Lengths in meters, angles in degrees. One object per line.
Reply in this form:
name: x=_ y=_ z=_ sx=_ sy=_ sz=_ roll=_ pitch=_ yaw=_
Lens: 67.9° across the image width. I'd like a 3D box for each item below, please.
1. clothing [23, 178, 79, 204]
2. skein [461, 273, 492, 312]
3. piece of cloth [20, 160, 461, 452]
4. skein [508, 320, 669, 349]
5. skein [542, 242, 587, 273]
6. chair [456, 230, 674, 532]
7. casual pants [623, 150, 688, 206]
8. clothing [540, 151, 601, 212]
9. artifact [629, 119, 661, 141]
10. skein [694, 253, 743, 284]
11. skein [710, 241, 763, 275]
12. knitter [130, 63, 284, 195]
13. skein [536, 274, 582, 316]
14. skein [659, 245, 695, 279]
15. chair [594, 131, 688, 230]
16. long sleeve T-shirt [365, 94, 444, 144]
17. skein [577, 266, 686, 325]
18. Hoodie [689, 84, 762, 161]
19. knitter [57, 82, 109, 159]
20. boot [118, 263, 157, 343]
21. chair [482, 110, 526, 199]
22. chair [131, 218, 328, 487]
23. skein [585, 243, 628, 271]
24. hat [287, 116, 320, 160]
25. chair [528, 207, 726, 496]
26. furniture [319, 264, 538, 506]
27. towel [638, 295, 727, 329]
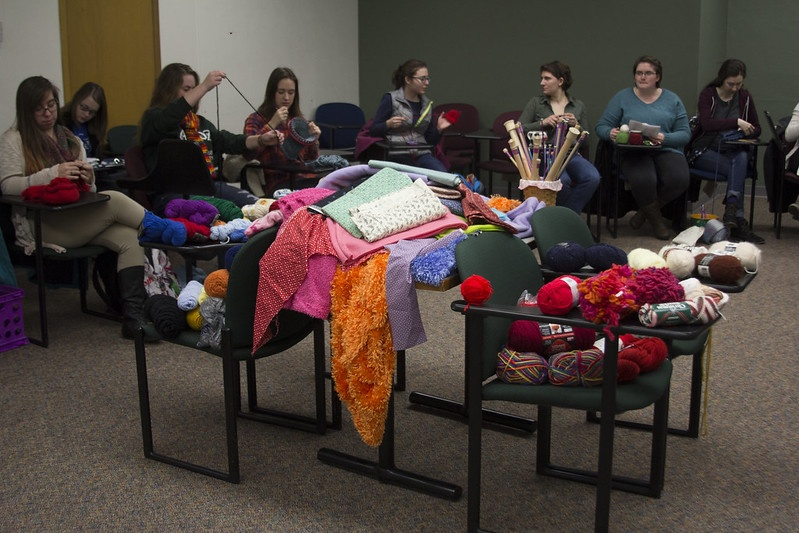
clothing: x=-1.839 y=-0.383 z=3.155 sx=0.178 sy=0.078 sz=0.183 roll=7 pitch=13 yaw=13
skein: x=0.246 y=0.078 z=1.932 sx=0.095 sy=0.098 sz=0.086 roll=11 pitch=9 yaw=37
piece of cloth: x=-0.425 y=0.029 z=2.300 sx=1.027 sy=1.149 sz=0.868 roll=13 pitch=21 yaw=31
skein: x=0.575 y=0.238 z=2.034 sx=0.336 sy=0.104 sz=0.113 roll=2 pitch=10 yaw=-12
skein: x=0.585 y=-0.041 z=2.089 sx=0.107 sy=0.076 sz=0.109 roll=-2 pitch=7 yaw=2
chair: x=0.599 y=0.354 z=2.462 sx=0.925 sy=1.346 sz=1.037 roll=3 pitch=7 yaw=29
casual pants: x=2.376 y=-0.733 z=5.454 sx=0.579 sy=0.228 sz=0.717 roll=-1 pitch=-9 yaw=28
clothing: x=1.558 y=-0.693 z=5.126 sx=0.309 sy=0.493 sz=0.304 roll=-12 pitch=20 yaw=-35
artifact: x=2.091 y=-1.143 z=5.050 sx=0.253 sy=0.159 sz=0.129 roll=6 pitch=17 yaw=18
skein: x=1.016 y=0.004 z=1.878 sx=0.074 sy=0.071 sz=0.152 roll=-2 pitch=9 yaw=-16
skein: x=1.104 y=-0.022 z=1.972 sx=0.094 sy=0.083 sz=0.163 roll=-19 pitch=19 yaw=-35
knitter: x=-1.304 y=-0.849 z=4.030 sx=0.774 sy=0.928 sz=0.607 roll=-17 pitch=22 yaw=-42
skein: x=0.482 y=0.082 z=1.801 sx=0.083 sy=0.081 sz=0.143 roll=10 pitch=19 yaw=32
skein: x=0.908 y=-0.037 z=1.938 sx=0.077 sy=0.064 sz=0.124 roll=-16 pitch=39 yaw=5
chair: x=2.152 y=-0.915 z=5.432 sx=0.584 sy=0.910 sz=0.672 roll=-1 pitch=-11 yaw=6
long sleeve T-shirt: x=0.056 y=-1.282 z=5.199 sx=0.632 sy=0.530 sz=0.337 roll=5 pitch=3 yaw=-32
skein: x=0.683 y=0.060 z=1.741 sx=0.214 sy=0.123 sz=0.189 roll=-1 pitch=7 yaw=31
Hoodie: x=3.045 y=-1.276 z=5.564 sx=0.491 sy=0.668 sz=0.462 roll=4 pitch=18 yaw=10
knitter: x=-2.384 y=-1.032 z=4.392 sx=0.305 sy=0.554 sz=0.338 roll=14 pitch=-5 yaw=45
boot: x=-1.346 y=0.178 z=3.046 sx=0.321 sy=0.435 sz=0.153 roll=2 pitch=3 yaw=32
chair: x=1.068 y=-1.067 z=6.298 sx=0.387 sy=1.009 sz=0.470 roll=8 pitch=18 yaw=39
chair: x=-0.688 y=0.315 z=2.561 sx=0.658 sy=0.978 sz=0.622 roll=7 pitch=12 yaw=32
skein: x=0.700 y=-0.029 z=1.999 sx=0.103 sy=0.058 sz=0.105 roll=4 pitch=5 yaw=-5
hat: x=-0.702 y=-0.875 z=4.304 sx=0.251 sy=0.269 sz=0.254 roll=9 pitch=-33 yaw=-28
chair: x=0.870 y=0.266 z=2.357 sx=0.690 sy=0.978 sz=0.549 roll=6 pitch=13 yaw=40
furniture: x=0.109 y=0.431 z=2.609 sx=0.802 sy=0.891 sz=0.929 roll=7 pitch=12 yaw=30
towel: x=0.854 y=0.130 z=1.744 sx=0.264 sy=0.108 sz=0.088 roll=-5 pitch=0 yaw=1
